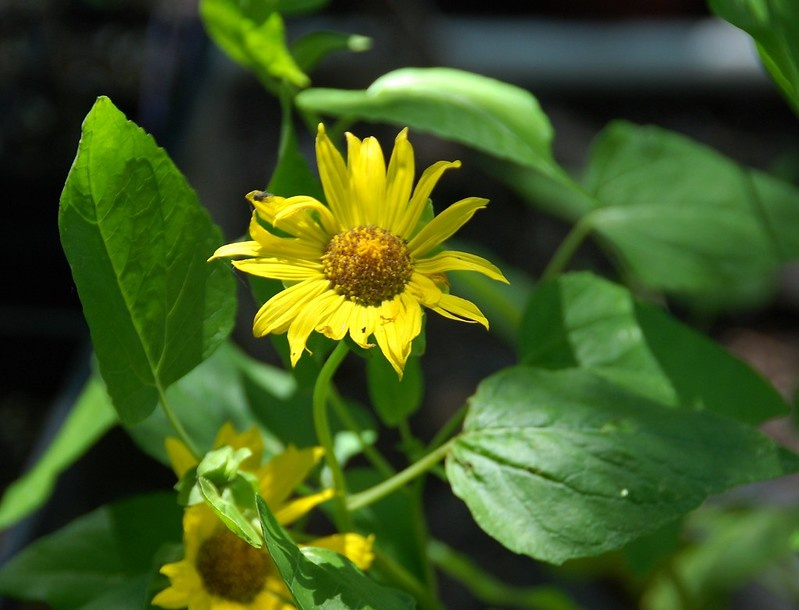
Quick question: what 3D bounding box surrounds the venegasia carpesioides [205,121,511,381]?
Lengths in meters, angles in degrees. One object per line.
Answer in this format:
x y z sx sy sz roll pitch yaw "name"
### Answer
-0.020 -0.033 0.450 0.161 0.083 0.122 9 46 9 "venegasia carpesioides"
